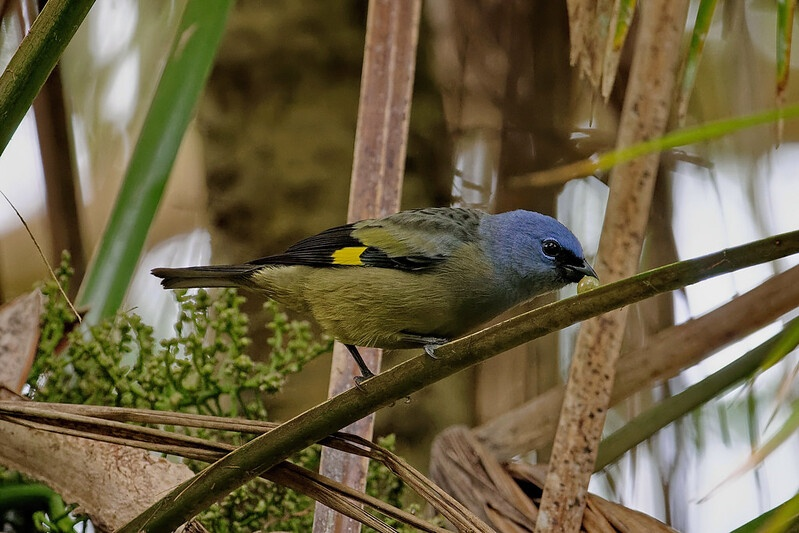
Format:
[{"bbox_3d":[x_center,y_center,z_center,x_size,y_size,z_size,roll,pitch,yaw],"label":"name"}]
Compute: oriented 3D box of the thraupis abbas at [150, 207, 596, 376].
[{"bbox_3d":[0.015,0.018,4.356,1.668,0.776,0.446,15,-22,-7],"label":"thraupis abbas"}]
